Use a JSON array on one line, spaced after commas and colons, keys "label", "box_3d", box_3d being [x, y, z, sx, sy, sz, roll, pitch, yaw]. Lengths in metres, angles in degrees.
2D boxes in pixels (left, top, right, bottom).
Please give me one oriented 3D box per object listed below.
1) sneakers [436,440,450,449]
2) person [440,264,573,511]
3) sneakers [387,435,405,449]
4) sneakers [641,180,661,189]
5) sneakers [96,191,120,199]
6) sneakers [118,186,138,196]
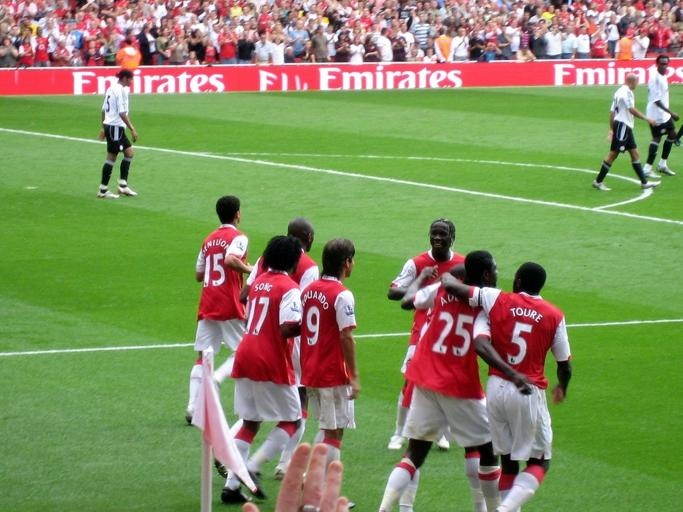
[{"label": "sneakers", "box_3d": [1.016, 1.906, 10.618, 0.111, 0.063, 0.132, 12, -8, 22]}, {"label": "person", "box_3d": [1.539, 1.183, 9.300, 0.835, 2.222, 0.792, -3, 8, -30]}, {"label": "sneakers", "box_3d": [0.520, 1.847, 10.515, 0.105, 0.114, 0.170, 4, 13, 5]}, {"label": "sneakers", "box_3d": [5.956, -1.359, 20.458, 0.297, 0.117, 0.108, -14, 21, -15]}, {"label": "sneakers", "box_3d": [-4.281, -1.115, 19.398, 0.419, 0.180, 0.153, -1, 28, -5]}, {"label": "sneakers", "box_3d": [-3.943, -1.190, 19.542, 0.376, 0.163, 0.151, 16, 35, 22]}]
